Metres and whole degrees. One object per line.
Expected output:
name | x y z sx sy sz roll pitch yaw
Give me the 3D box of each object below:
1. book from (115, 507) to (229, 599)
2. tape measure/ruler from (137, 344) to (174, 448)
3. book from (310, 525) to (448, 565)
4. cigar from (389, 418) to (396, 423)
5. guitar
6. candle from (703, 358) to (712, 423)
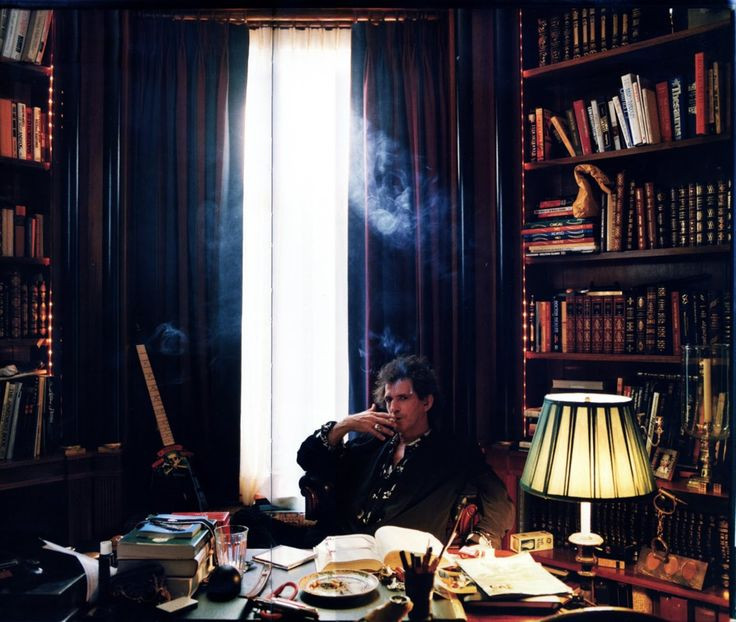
book | -0.600 0.743 2.311 0.189 0.097 0.265 1 1 1
tape measure/ruler | -1.021 0.339 3.404 0.113 0.094 1.263 25 3 -25
book | 0.035 0.779 2.422 0.408 0.079 0.232 -3 4 -7
cigar | 0.101 0.443 2.990 0.015 0.022 0.007 -10 4 -11
guitar | -0.850 0.492 3.128 0.315 0.695 0.130 0 0 0
candle | 1.247 0.295 2.700 0.039 0.238 0.015 0 0 17
